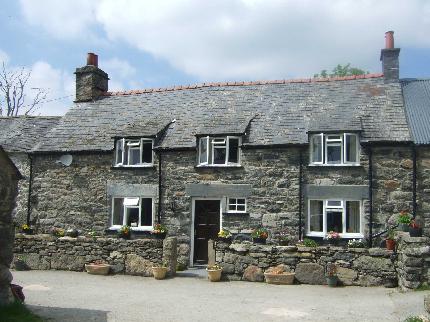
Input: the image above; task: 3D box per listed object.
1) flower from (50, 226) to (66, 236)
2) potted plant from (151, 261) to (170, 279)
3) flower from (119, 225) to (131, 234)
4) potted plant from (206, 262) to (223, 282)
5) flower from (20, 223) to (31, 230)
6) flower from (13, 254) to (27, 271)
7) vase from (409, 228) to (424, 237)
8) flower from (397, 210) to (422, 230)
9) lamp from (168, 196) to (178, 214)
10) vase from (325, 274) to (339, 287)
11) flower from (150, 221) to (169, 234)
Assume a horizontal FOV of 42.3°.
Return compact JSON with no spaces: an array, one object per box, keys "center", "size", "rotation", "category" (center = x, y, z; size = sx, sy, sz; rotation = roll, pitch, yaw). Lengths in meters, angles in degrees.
[{"center":[-7.200,3.284,25.816],"size":[0.507,0.304,0.467],"rotation":[4,-6,1],"category":"flower"},{"center":[-2.290,4.647,23.217],"size":[0.663,0.454,0.630],"rotation":[4,-10,-24],"category":"potted plant"},{"center":[-4.025,3.083,24.889],"size":[0.392,0.215,0.373],"rotation":[1,-1,-27],"category":"flower"},{"center":[-0.058,4.707,23.116],"size":[0.642,0.419,0.661],"rotation":[-5,-5,44],"category":"potted plant"},{"center":[-8.866,3.096,26.116],"size":[0.326,0.253,0.306],"rotation":[5,-4,-22],"category":"flower"},{"center":[-8.713,4.615,24.854],"size":[0.548,0.542,0.555],"rotation":[3,-15,-22],"category":"flower"},{"center":[7.833,2.783,21.661],"size":[0.396,0.265,0.389],"rotation":[1,-1,15],"category":"vase"},{"center":[7.803,2.437,22.476],"size":[0.930,0.632,0.777],"rotation":[-6,-11,43],"category":"flower"},{"center":[-1.885,2.006,25.431],"size":[0.374,0.753,0.184],"rotation":[0,-10,4],"category":"lamp"},{"center":[4.673,4.810,22.193],"size":[0.543,0.406,0.464],"rotation":[1,-12,0],"category":"vase"},{"center":[-2.488,3.041,24.661],"size":[0.677,0.538,0.493],"rotation":[-4,-10,22],"category":"flower"}]
